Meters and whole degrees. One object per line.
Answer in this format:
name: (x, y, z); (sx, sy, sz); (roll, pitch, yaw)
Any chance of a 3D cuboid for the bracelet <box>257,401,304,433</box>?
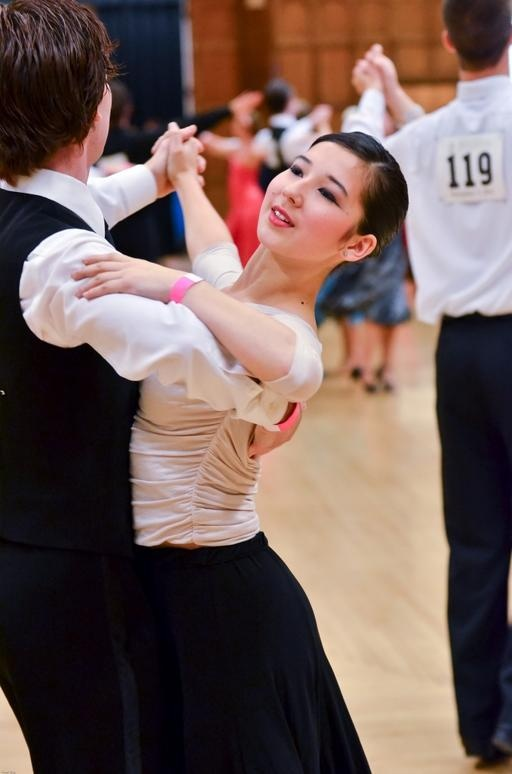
bracelet: (0.027, 0.026, 0.947); (0.033, 0.031, 0.033); (16, 33, 28)
